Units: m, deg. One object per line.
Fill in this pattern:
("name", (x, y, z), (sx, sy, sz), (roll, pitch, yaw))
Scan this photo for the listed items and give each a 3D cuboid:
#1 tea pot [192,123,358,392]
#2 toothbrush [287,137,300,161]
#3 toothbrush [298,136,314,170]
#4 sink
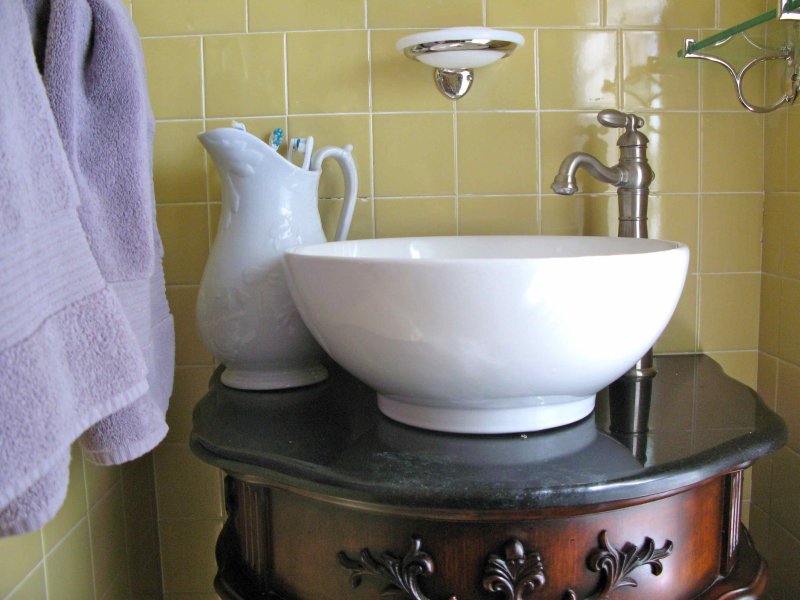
("tea pot", (-0.206, -0.072, 1.336), (0.290, 0.443, 0.255), (0, -6, -35))
("toothbrush", (-0.200, -0.282, 1.433), (0.011, 0.042, 0.029), (15, 9, -30))
("toothbrush", (-0.162, -0.253, 1.314), (0.018, 0.075, 0.051), (6, 6, -8))
("sink", (0.142, 0.041, 1.221), (0.599, 0.288, 0.645), (0, 8, 7))
